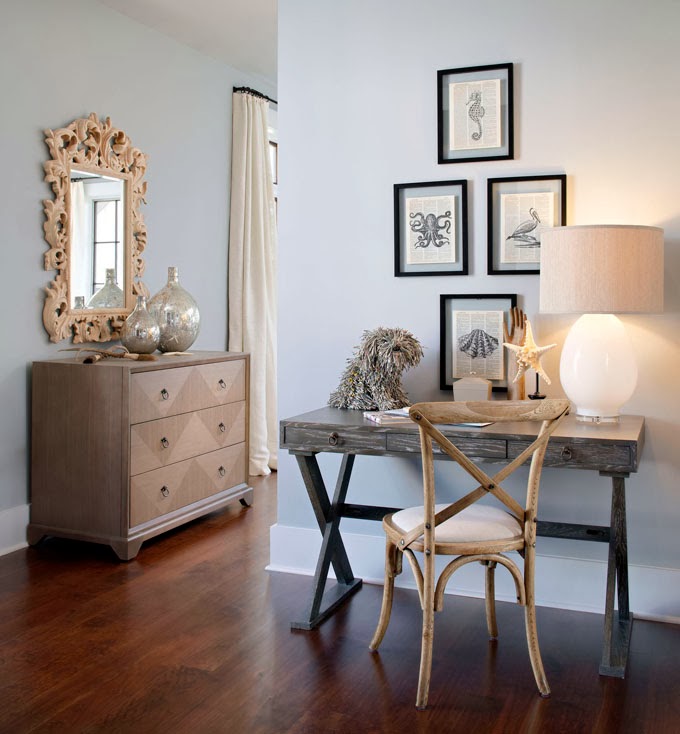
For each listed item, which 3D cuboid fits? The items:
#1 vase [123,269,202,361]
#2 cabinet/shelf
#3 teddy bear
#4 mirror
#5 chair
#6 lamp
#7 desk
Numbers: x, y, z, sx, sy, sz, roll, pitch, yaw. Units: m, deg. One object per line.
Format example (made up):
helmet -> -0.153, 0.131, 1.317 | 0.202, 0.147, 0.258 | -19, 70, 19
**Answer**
vase -> -0.941, -0.262, 3.377 | 0.263, 0.560, 0.509 | 2, 2, 29
cabinet/shelf -> -0.984, 0.384, 3.367 | 0.526, 0.931, 1.086 | 2, 4, 21
teddy bear -> 0.145, 0.016, 2.418 | 0.321, 0.375, 0.264 | 1, 1, 22
mirror -> -1.295, -0.723, 3.377 | 0.097, 1.209, 0.731 | 0, 1, 21
chair -> 0.383, 0.483, 1.877 | 0.423, 0.878, 0.528 | -1, 9, 1
lamp -> 0.824, -0.132, 2.007 | 0.359, 0.609, 0.240 | 0, 2, 20
desk -> 0.413, 0.535, 2.204 | 1.076, 0.817, 0.553 | 1, 12, 23
